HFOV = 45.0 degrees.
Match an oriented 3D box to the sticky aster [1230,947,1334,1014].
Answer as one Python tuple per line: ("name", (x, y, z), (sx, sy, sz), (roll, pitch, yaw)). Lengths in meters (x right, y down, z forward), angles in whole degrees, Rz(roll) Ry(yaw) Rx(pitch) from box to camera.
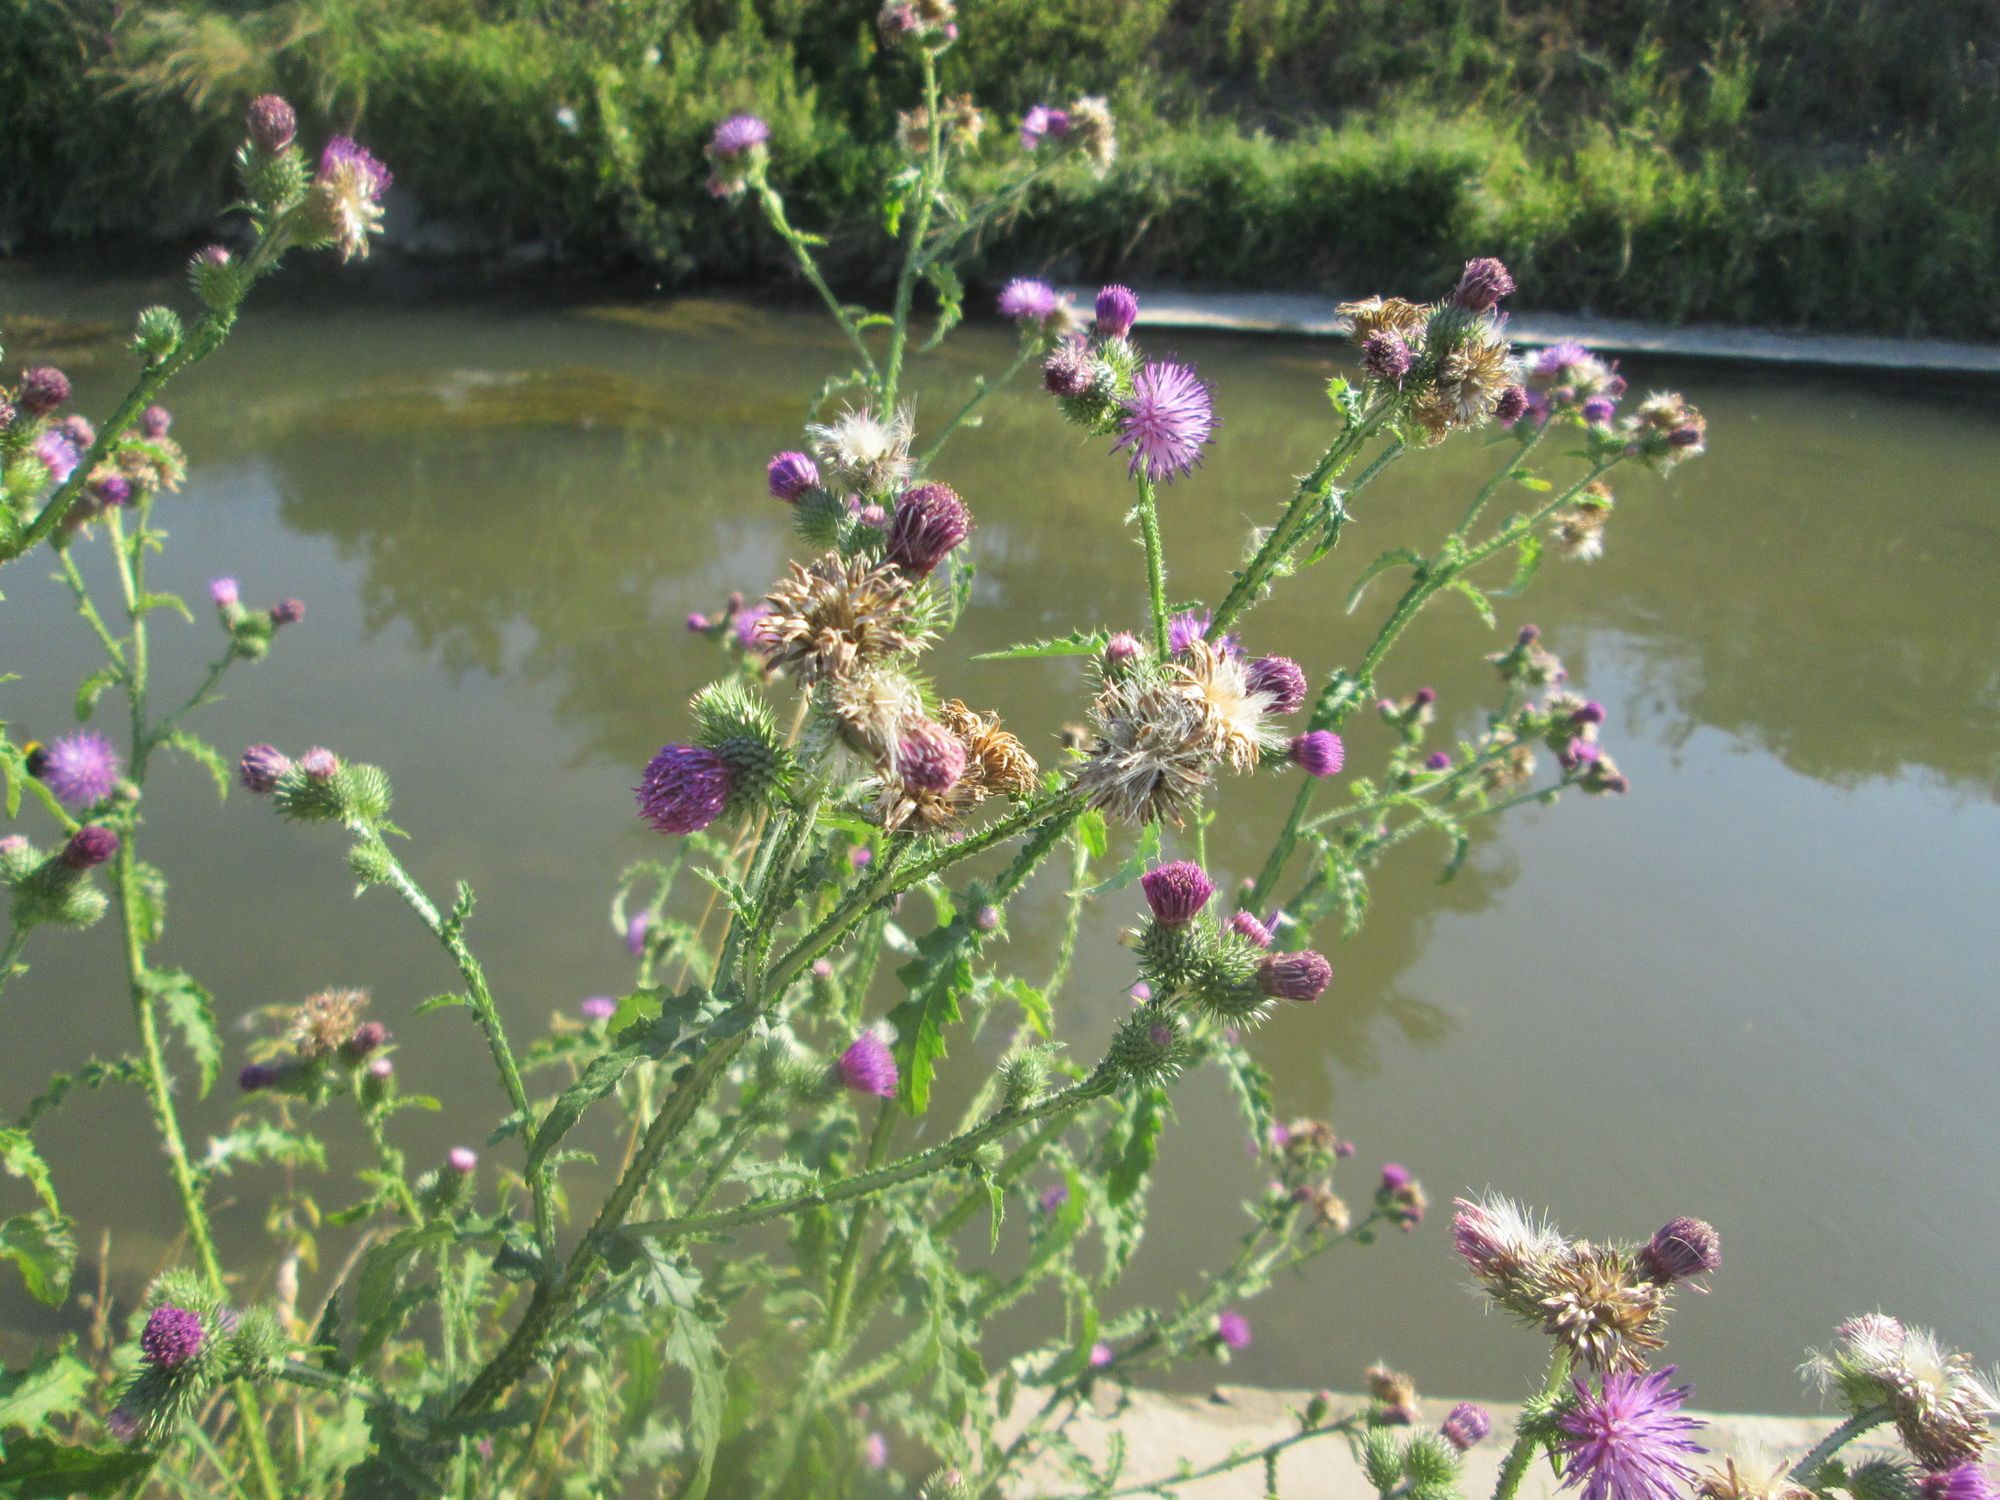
("sticky aster", (1.190, 0.950, 9.972), (0.298, 0.155, 0.235), (-12, 59, 14))

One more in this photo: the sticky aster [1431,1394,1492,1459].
("sticky aster", (2.030, 2.987, 10.602), (0.165, 0.187, 0.392), (22, 30, 26))

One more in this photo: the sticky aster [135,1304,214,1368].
("sticky aster", (-3.299, 2.354, 9.731), (0.219, 0.239, 0.246), (26, 67, 13))

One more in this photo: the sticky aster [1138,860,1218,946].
("sticky aster", (0.731, 0.596, 9.883), (0.237, 0.295, 0.270), (-4, 19, -1))
